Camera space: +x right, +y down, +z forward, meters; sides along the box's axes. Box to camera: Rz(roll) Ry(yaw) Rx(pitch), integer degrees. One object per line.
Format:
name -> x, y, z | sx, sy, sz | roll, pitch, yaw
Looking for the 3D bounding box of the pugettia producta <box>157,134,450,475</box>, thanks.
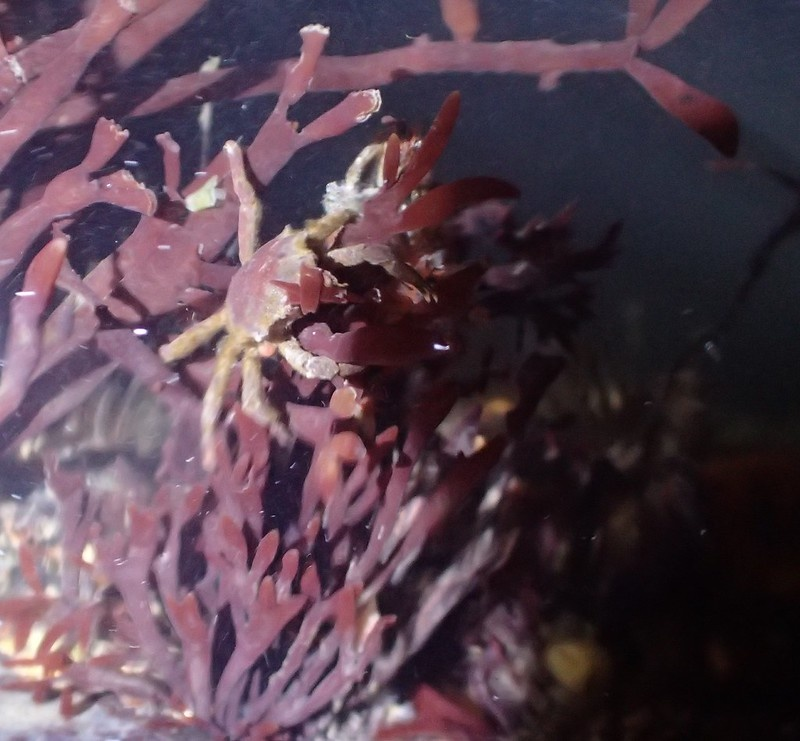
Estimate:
pugettia producta -> -0.137, -0.085, 0.918 | 0.111, 0.198, 0.300 | -5, 54, 24
